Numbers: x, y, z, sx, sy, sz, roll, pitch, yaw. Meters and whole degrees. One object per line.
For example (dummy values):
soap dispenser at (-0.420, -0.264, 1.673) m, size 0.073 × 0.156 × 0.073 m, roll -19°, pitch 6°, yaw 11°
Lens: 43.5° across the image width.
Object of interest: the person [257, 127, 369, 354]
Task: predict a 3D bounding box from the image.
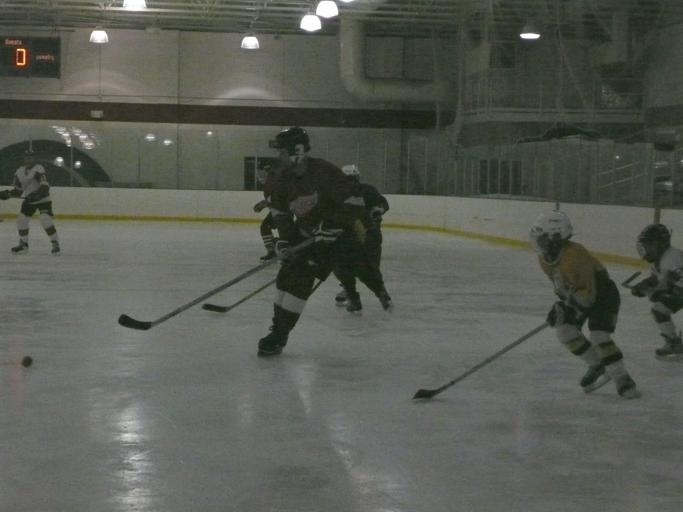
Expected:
person at (-0.200, -0.139, 6.101) m, size 0.710 × 1.545 × 0.917 m, roll 1°, pitch 13°, yaw 1°

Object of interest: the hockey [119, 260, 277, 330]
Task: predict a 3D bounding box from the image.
hockey at (-1.290, 0.353, 7.695) m, size 1.402 × 0.374 × 0.151 m, roll -15°, pitch 25°, yaw -28°

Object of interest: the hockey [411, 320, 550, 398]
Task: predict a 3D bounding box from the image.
hockey at (0.928, 0.697, 5.735) m, size 0.771 × 0.102 × 0.064 m, roll -33°, pitch 15°, yaw -6°

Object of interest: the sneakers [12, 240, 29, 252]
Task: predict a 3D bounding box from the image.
sneakers at (-4.048, -0.121, 10.794) m, size 0.197 × 0.150 × 0.319 m, roll -4°, pitch 13°, yaw -23°

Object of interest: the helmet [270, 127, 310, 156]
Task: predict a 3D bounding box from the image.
helmet at (-0.346, -0.787, 5.891) m, size 0.262 × 0.148 × 0.192 m, roll -8°, pitch 16°, yaw -15°

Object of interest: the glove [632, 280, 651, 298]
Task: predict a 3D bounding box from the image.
glove at (2.009, 0.217, 5.755) m, size 0.109 × 0.057 × 0.153 m, roll -22°, pitch -13°, yaw 25°

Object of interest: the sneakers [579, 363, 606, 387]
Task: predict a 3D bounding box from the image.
sneakers at (1.517, 0.716, 5.230) m, size 0.166 × 0.115 × 0.076 m, roll -41°, pitch 7°, yaw -2°

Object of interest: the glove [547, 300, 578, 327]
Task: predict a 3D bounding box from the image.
glove at (1.246, 0.325, 4.907) m, size 0.179 × 0.118 × 0.077 m, roll 0°, pitch -3°, yaw -4°

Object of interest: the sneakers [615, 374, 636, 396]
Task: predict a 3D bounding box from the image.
sneakers at (1.664, 0.735, 5.012) m, size 0.108 × 0.131 × 0.059 m, roll -11°, pitch 15°, yaw 7°

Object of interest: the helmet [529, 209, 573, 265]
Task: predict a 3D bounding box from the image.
helmet at (1.227, -0.120, 5.028) m, size 0.234 × 0.301 × 0.170 m, roll 4°, pitch 14°, yaw 13°

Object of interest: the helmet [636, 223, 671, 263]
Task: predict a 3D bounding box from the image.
helmet at (2.145, -0.097, 5.725) m, size 0.279 × 0.266 × 0.231 m, roll -1°, pitch -1°, yaw -11°

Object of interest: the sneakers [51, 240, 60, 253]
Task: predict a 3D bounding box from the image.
sneakers at (-3.574, -0.125, 10.735) m, size 0.075 × 0.160 × 0.226 m, roll -3°, pitch 13°, yaw -14°

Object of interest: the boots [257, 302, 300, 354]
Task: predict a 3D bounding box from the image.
boots at (-0.445, 0.495, 5.869) m, size 0.264 × 0.339 × 0.163 m, roll -9°, pitch 16°, yaw -35°

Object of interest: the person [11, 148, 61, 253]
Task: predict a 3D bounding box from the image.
person at (-4.099, -0.691, 11.410) m, size 0.592 × 1.360 × 2.042 m, roll -4°, pitch 13°, yaw -18°
